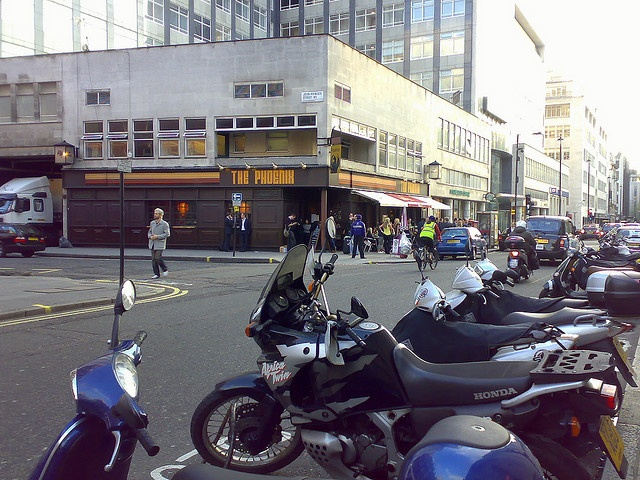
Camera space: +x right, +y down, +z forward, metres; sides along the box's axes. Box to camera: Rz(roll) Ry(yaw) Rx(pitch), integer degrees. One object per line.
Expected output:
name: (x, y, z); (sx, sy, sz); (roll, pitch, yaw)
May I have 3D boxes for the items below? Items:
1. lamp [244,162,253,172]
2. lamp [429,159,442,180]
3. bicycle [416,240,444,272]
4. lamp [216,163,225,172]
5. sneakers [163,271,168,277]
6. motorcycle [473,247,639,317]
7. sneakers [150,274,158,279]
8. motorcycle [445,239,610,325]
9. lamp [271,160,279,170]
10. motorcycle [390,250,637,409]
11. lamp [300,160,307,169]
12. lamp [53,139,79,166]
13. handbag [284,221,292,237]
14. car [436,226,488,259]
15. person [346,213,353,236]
lamp: (-3.347, -3.452, 29.429); (0.450, 0.391, 0.253); (4, 4, 41)
lamp: (7.545, -4.548, 41.243); (1.021, 1.900, 1.002); (0, 3, 13)
bicycle: (3.571, 0.515, 20.559); (0.744, 1.067, 1.638); (-4, -3, 15)
lamp: (-4.682, -3.470, 29.745); (0.371, 0.359, 0.196); (2, 3, 2)
sneakers: (-4.441, 0.964, 18.010); (0.115, 0.165, 0.337); (-3, 0, -7)
motorcycle: (4.120, 0.685, 10.691); (1.710, 1.241, 1.002); (3, 0, 15)
sneakers: (-4.488, 0.996, 17.036); (0.212, 0.102, 0.083); (0, 2, 28)
motorcycle: (2.151, 0.544, 6.871); (1.367, 0.867, 0.669); (6, 6, 19)
lamp: (-2.077, -3.491, 29.302); (0.319, 0.395, 0.366); (1, 3, -7)
motorcycle: (1.708, 0.772, 5.783); (1.992, 1.276, 1.062); (5, 3, 22)
lamp: (-0.750, -3.459, 29.007); (0.298, 0.384, 0.326); (1, 3, -19)
lamp: (-12.775, -4.333, 31.202); (0.988, 1.735, 1.119); (-1, 1, 12)
handbag: (-1.191, -0.407, 22.986); (0.357, 0.641, 0.594); (-3, 37, -2)
car: (5.495, 0.115, 24.728); (1.061, 0.917, 1.967); (1, 8, 28)
person: (1.466, -0.824, 31.181); (0.356, 0.988, 0.547); (0, -17, 6)
